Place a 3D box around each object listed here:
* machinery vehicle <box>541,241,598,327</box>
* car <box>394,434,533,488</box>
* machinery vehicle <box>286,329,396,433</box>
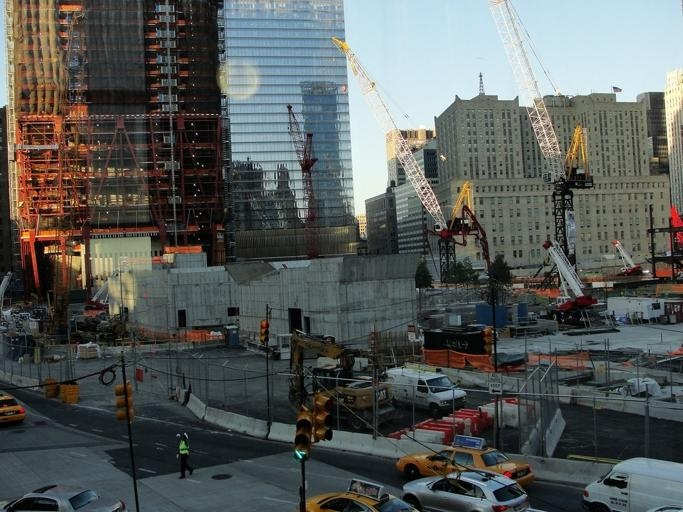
[{"bbox_3d":[30.354,3.479,127.173,4.013,10.613,8.190,-7,7,-31],"label":"machinery vehicle"},{"bbox_3d":[8.486,14.437,66.983,8.364,2.590,3.661,1,0,35],"label":"car"},{"bbox_3d":[0.096,10.370,77.697,4.425,7.258,13.505,-3,2,-40],"label":"machinery vehicle"}]
